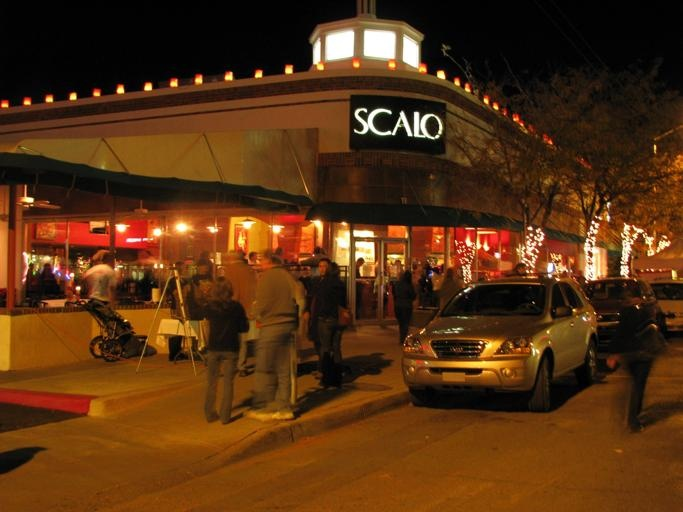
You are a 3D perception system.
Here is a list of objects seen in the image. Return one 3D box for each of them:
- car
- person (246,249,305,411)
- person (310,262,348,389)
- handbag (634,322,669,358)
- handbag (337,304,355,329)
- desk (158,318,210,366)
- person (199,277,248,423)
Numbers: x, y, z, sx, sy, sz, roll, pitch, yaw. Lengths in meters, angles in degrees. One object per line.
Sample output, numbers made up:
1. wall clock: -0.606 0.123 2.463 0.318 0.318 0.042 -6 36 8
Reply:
1. car: 3.071 1.454 11.936 1.872 1.612 3.601 -6 -9 36
2. person: -0.964 1.197 10.198 0.650 2.419 0.897 2 7 25
3. person: -0.217 1.263 12.371 0.530 2.221 0.765 -2 6 -16
4. handbag: 4.505 1.237 9.793 0.542 0.472 0.260 -3 7 -23
5. handbag: 0.072 1.113 12.177 0.210 0.439 0.298 1 6 14
6. desk: -3.271 1.633 14.200 1.259 1.013 0.909 2 9 5
7. person: -1.703 1.388 9.933 0.655 2.130 0.464 -1 6 -9
